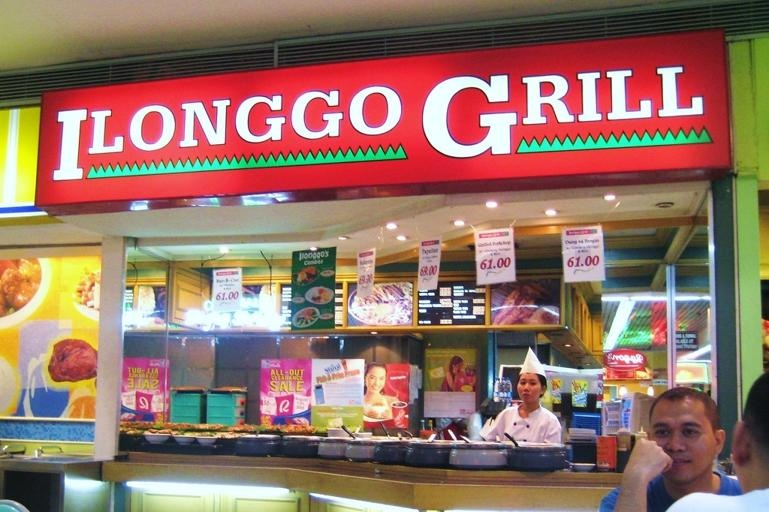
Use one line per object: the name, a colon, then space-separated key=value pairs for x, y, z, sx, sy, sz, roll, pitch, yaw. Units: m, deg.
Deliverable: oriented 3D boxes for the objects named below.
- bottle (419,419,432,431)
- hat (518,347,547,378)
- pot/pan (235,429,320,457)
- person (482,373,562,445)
bottle: x=0.528 y=2.231 z=10.976 sx=0.188 sy=0.143 sz=0.194 roll=0 pitch=-9 yaw=0
hat: x=1.437 y=1.041 z=8.105 sx=0.192 sy=0.276 sz=0.622 roll=-2 pitch=-9 yaw=12
pot/pan: x=-1.037 y=1.831 z=7.954 sx=0.935 sy=0.205 sz=0.182 roll=-3 pitch=-10 yaw=19
person: x=1.319 y=1.425 z=7.777 sx=0.519 sy=0.624 sz=0.906 roll=7 pitch=-11 yaw=-35
